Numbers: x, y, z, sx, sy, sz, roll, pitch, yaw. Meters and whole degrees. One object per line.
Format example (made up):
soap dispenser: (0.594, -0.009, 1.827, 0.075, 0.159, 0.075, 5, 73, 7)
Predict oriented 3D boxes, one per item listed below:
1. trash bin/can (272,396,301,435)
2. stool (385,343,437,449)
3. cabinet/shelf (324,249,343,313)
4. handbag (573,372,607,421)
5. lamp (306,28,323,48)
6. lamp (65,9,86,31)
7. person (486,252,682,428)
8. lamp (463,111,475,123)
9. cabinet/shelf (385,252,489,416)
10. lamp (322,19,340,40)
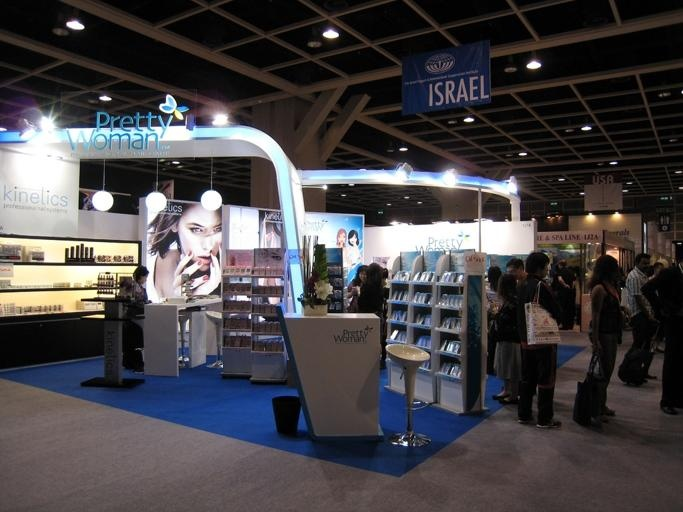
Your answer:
trash bin/can: (-0.628, 1.846, 5.792, 0.383, 0.413, 0.402, 1, -8, -11)
stool: (0.783, 1.581, 5.884, 0.508, 1.046, 0.903, 0, 3, 5)
cabinet/shelf: (-0.113, 0.507, 10.836, 0.333, 1.334, 1.227, 0, 3, -2)
handbag: (3.014, 1.724, 6.097, 0.315, 0.651, 0.210, 0, 3, 9)
lamp: (-0.428, -3.602, 8.366, 0.271, 0.317, 0.275, 2, 1, 45)
lamp: (-4.104, -3.648, 7.754, 0.230, 0.265, 0.235, 11, 19, 20)
person: (2.907, 1.025, 6.167, 1.395, 2.097, 0.510, -1, 3, -11)
lamp: (3.021, -3.279, 11.916, 0.177, 0.176, 0.180, 9, 11, 42)
cabinet/shelf: (1.363, 1.126, 6.932, 0.859, 2.728, 2.031, 1, -2, -26)
lamp: (-0.171, -3.689, 8.329, 0.293, 0.114, 0.514, 0, 3, -1)
